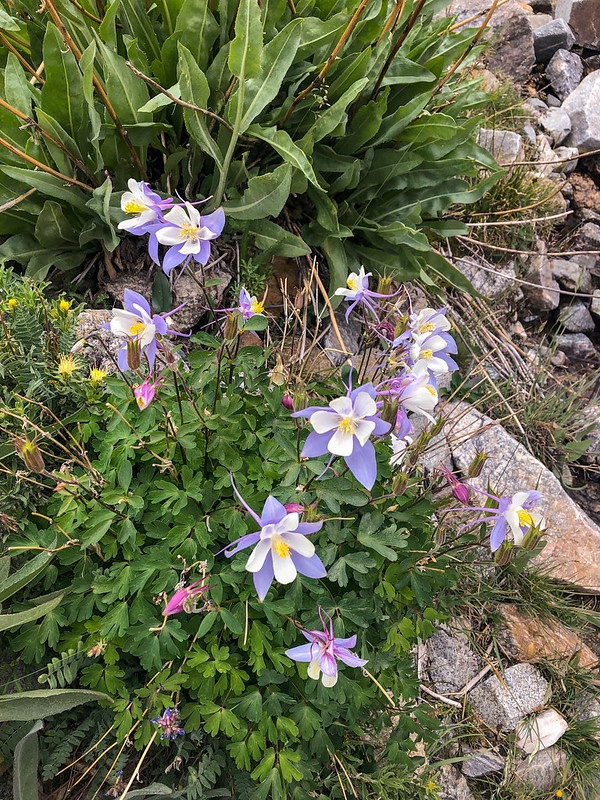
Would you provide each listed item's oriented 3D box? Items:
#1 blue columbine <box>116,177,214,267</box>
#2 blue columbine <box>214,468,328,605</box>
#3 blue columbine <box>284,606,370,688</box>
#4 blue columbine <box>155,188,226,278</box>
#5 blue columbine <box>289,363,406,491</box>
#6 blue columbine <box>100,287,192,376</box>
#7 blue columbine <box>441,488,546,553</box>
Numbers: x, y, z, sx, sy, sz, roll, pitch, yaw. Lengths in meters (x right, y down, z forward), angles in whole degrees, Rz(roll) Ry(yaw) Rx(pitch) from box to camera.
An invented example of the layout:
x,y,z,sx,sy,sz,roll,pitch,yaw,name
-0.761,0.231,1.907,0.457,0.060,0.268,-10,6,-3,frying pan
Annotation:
x,y,z,sx,sy,sz,roll,pitch,yaw,name
-0.374,-0.466,1.634,0.321,0.140,0.213,27,105,35,blue columbine
-0.069,0.267,1.220,0.262,0.115,0.186,29,47,28,blue columbine
0.059,0.542,1.340,0.168,0.149,0.160,0,93,-5,blue columbine
-0.294,-0.415,1.552,0.157,0.203,0.154,29,67,7,blue columbine
0.106,0.027,1.299,0.244,0.235,0.064,-14,104,0,blue columbine
-0.397,-0.173,1.469,0.215,0.227,0.093,38,25,23,blue columbine
0.513,0.271,1.527,0.186,0.061,0.211,-16,39,-28,blue columbine
